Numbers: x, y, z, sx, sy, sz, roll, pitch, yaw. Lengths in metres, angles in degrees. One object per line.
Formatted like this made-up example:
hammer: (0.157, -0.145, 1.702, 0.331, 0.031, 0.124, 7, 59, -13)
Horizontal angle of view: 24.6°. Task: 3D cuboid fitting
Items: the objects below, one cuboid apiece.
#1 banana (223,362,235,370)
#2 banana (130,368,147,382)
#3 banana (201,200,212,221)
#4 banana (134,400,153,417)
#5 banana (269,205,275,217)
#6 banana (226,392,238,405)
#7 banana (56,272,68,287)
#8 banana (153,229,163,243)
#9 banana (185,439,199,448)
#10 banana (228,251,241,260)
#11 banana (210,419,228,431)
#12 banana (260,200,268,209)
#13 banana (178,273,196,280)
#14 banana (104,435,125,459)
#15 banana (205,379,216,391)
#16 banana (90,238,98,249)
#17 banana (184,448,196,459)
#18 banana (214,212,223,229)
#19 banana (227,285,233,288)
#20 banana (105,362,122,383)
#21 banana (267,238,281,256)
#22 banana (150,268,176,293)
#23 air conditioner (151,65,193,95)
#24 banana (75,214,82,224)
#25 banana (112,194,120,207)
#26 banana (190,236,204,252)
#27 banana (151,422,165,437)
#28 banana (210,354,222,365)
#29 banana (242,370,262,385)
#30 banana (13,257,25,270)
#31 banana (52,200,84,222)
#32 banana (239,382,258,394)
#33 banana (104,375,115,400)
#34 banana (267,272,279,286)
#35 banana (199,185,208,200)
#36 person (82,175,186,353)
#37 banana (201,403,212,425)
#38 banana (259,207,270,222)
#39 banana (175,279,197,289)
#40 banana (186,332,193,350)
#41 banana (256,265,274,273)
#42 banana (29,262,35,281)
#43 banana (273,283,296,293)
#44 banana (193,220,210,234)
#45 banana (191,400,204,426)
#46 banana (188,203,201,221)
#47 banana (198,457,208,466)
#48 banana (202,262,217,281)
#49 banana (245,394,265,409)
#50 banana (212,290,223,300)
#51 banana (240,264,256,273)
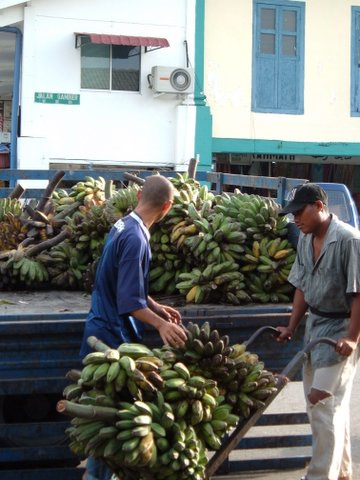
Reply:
banana: (0.269, 0.665, 4.393, 0.031, 0.016, 0.048, 11, -38, -3)
banana: (-0.210, 0.678, 4.151, 0.078, 0.063, 0.051, 0, 2, -2)
banana: (0.212, -0.239, 6.446, 0.051, 0.062, 0.177, 3, 39, 15)
banana: (-0.177, 0.830, 4.120, 0.028, 0.092, 0.062, -46, 3, 24)
banana: (0.690, -0.218, 6.189, 0.052, 0.066, 0.017, -4, 12, -30)
banana: (0.280, 0.848, 4.449, 0.044, 0.056, 0.033, -16, -40, 11)
banana: (-0.942, 0.311, 6.640, 0.093, 0.126, 0.121, -1, 2, -11)
banana: (-0.158, -0.040, 6.271, 0.034, 0.039, 0.117, -10, 28, 29)
banana: (0.062, 1.018, 4.148, 0.069, 0.046, 0.028, -1, 2, -23)
banana: (0.412, 0.105, 6.138, 0.107, 0.059, 0.032, -2, 2, -29)
banana: (0.205, 0.970, 4.356, 0.083, 0.054, 0.059, 0, 2, 19)
banana: (0.637, -0.275, 6.256, 0.041, 0.055, 0.056, -3, -9, 12)
banana: (0.050, 0.260, 6.072, 0.089, 0.030, 0.050, 3, 1, -15)
banana: (-0.311, 1.005, 4.104, 0.049, 0.054, 0.155, 11, 32, 25)
banana: (0.162, 0.760, 4.355, 0.050, 0.054, 0.065, 0, 2, 7)
banana: (-0.684, 0.023, 6.572, 0.048, 0.073, 0.018, 10, -34, 0)
banana: (0.047, 1.055, 4.105, 0.040, 0.030, 0.054, 8, -1, -1)
banana: (0.294, -0.153, 6.181, 0.041, 0.045, 0.131, -8, 44, 28)
banana: (0.362, 0.328, 5.964, 0.040, 0.020, 0.016, 0, 2, 1)
banana: (-0.331, 0.654, 4.138, 0.041, 0.049, 0.139, 10, 47, 5)
banana: (0.693, 0.043, 6.122, 0.047, 0.053, 0.160, 13, 55, 21)
banana: (-0.138, 0.315, 6.253, 0.214, 0.070, 0.123, -42, 8, -22)
air conditioner: (-0.111, -2.771, 14.138, 0.751, 0.480, 0.452, 0, 0, -19)
banana: (-0.826, -0.179, 6.710, 0.043, 0.076, 0.099, -1, 2, -11)
banana: (-0.507, -0.324, 6.587, 0.016, 0.102, 0.122, -1, 2, -26)
banana: (0.123, 0.021, 6.092, 0.101, 0.111, 0.065, -2, 2, -30)
banana: (-0.108, 0.939, 4.108, 0.024, 0.066, 0.050, -40, 5, 47)
banana: (0.187, 0.630, 4.382, 0.068, 0.056, 0.045, 0, 2, 16)
banana: (0.393, 0.732, 4.463, 0.041, 0.056, 0.156, 25, 48, 21)
banana: (-1.226, 0.177, 6.377, 0.111, 0.085, 0.050, -3, 3, -44)
banana: (-0.969, -0.225, 7.142, 0.254, 0.067, 0.149, -41, 16, -35)
banana: (0.364, 0.793, 4.443, 0.038, 0.056, 0.146, -9, -5, 17)
banana: (-0.341, 0.743, 4.188, 0.040, 0.134, 0.048, -5, 23, 22)
banana: (0.691, 0.277, 6.116, 0.071, 0.090, 0.050, -20, 11, -27)
banana: (0.196, -0.390, 6.694, 0.043, 0.114, 0.075, -5, 39, 12)
person: (-0.237, 0.116, 4.697, 0.650, 0.976, 0.451, 0, 2, 15)
banana: (0.151, 0.898, 4.293, 0.034, 0.093, 0.070, -4, 18, 26)
banana: (0.632, -0.204, 6.156, 0.030, 0.091, 0.057, 4, 27, 33)
banana: (0.044, 0.316, 6.008, 0.170, 0.066, 0.054, 3, -20, -25)
banana: (0.051, 0.540, 4.437, 0.035, 0.095, 0.035, 0, 2, 0)
banana: (0.623, 0.209, 6.101, 0.141, 0.062, 0.083, 1, 3, 24)
banana: (-1.142, 0.237, 6.413, 0.027, 0.134, 0.035, 4, -21, -16)
banana: (0.779, 0.349, 6.188, 0.219, 0.061, 0.075, -10, -10, -26)
banana: (0.168, -0.105, 6.127, 0.160, 0.054, 0.050, 34, 31, 29)
banana: (0.093, 0.881, 4.239, 0.068, 0.110, 0.030, 3, 2, -43)
banana: (0.106, -0.223, 6.254, 0.031, 0.117, 0.073, -15, 15, 37)
banana: (0.118, 1.127, 4.228, 0.034, 0.039, 0.038, -7, -8, -43)
banana: (0.213, 0.224, 5.938, 0.044, 0.061, 0.168, -9, 20, 27)
banana: (0.412, 0.870, 4.426, 0.140, 0.037, 0.050, 35, 6, 18)
banana: (0.268, 0.392, 5.974, 0.061, 0.061, 0.016, -1, 1, -16)
banana: (0.511, 0.207, 6.184, 0.129, 0.068, 0.048, 1, 2, 26)
